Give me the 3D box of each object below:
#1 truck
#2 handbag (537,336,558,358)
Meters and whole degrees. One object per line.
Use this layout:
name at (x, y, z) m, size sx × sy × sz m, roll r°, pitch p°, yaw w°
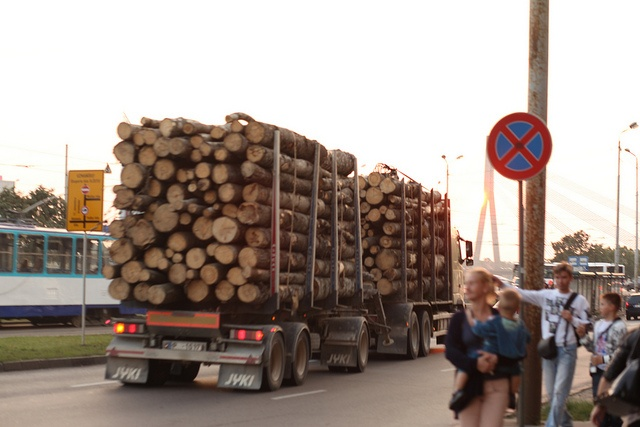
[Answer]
truck at (-0.697, 1.253, 16.169) m, size 4.467 × 5.520 × 12.970 m, roll -2°, pitch -5°, yaw 32°
handbag at (2.874, 1.698, 6.597) m, size 0.231 × 0.294 × 0.253 m, roll -4°, pitch -11°, yaw 23°
